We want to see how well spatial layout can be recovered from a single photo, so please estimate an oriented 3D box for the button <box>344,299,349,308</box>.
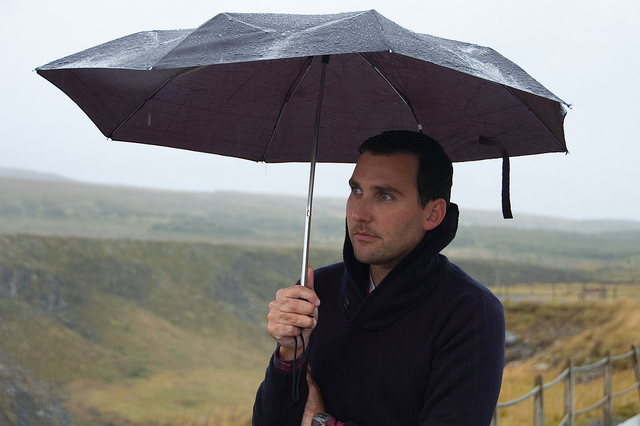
[{"bbox_3d":[0.643,2.178,23.271,0.146,0.152,0.040,-3,-6,43],"label":"button"}]
